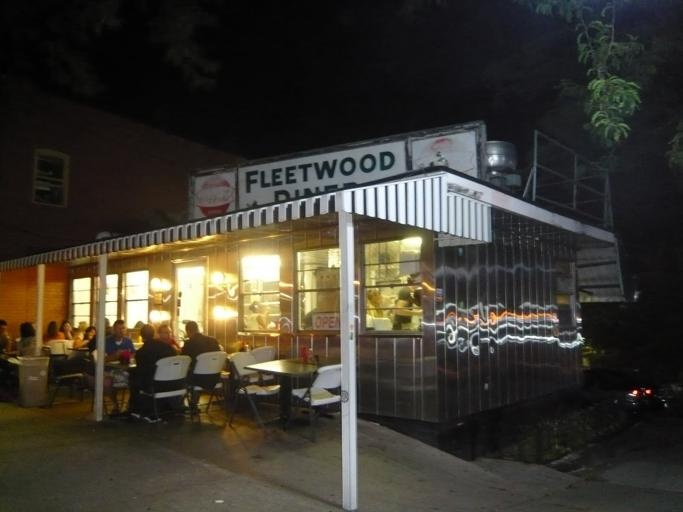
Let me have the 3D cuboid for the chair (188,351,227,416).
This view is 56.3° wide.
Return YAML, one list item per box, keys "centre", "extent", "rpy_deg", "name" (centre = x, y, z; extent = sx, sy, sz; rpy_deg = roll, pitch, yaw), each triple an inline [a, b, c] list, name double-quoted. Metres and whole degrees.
- centre: [-2.441, 2.267, 11.621]
  extent: [0.616, 1.374, 1.278]
  rpy_deg: [0, 7, -13]
  name: "chair"

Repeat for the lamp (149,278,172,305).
- centre: [-4.021, 0.764, 14.288]
  extent: [0.554, 0.585, 0.306]
  rpy_deg: [2, 3, 36]
  name: "lamp"

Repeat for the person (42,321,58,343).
- centre: [-6.690, 1.733, 14.727]
  extent: [0.329, 0.468, 1.004]
  rpy_deg: [-1, 8, -25]
  name: "person"

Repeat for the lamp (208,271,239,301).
- centre: [-2.396, 0.596, 13.013]
  extent: [0.895, 0.575, 0.174]
  rpy_deg: [9, 10, 42]
  name: "lamp"

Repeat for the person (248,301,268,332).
- centre: [-1.604, 1.177, 12.760]
  extent: [0.439, 0.859, 0.548]
  rpy_deg: [0, -14, -3]
  name: "person"

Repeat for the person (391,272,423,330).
- centre: [1.138, 0.759, 10.849]
  extent: [0.500, 1.002, 0.166]
  rpy_deg: [6, 8, 31]
  name: "person"

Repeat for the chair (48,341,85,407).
- centre: [-5.491, 2.415, 12.767]
  extent: [0.690, 1.266, 2.162]
  rpy_deg: [-1, 8, -25]
  name: "chair"
